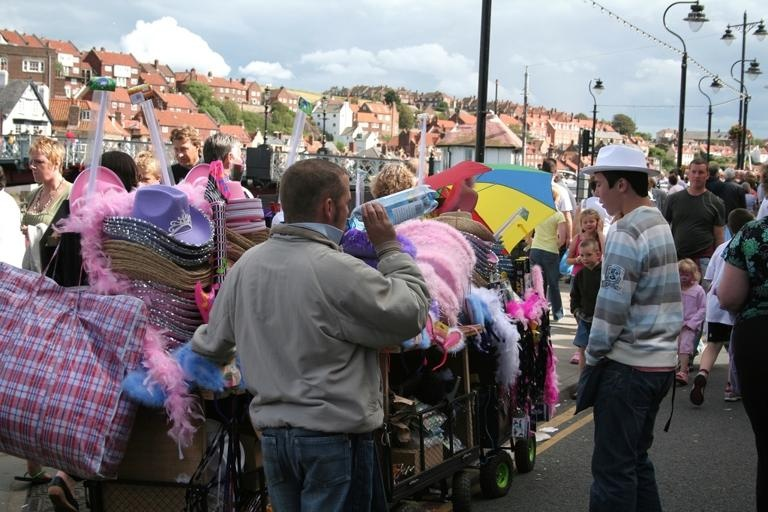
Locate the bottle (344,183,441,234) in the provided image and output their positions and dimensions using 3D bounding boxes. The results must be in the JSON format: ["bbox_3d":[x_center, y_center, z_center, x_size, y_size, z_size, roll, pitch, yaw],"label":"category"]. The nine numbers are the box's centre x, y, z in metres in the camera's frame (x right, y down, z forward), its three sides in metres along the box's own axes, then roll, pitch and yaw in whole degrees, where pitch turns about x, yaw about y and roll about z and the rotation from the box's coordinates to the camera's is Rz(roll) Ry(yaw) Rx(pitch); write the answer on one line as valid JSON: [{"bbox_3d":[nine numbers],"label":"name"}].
[{"bbox_3d":[0.126,-0.357,5.778,0.727,0.260,0.264,-20,17,-19],"label":"bottle"}]

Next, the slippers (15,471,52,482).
[{"bbox_3d":[-2.683,1.702,6.553,0.205,0.069,0.118,0,-3,-4],"label":"slippers"}]

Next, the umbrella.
[{"bbox_3d":[0.760,-0.524,7.699,1.306,0.467,1.308,9,-14,-34],"label":"umbrella"}]

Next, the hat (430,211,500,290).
[{"bbox_3d":[0.681,-0.056,6.641,0.615,0.574,0.422,1,7,-13],"label":"hat"}]
